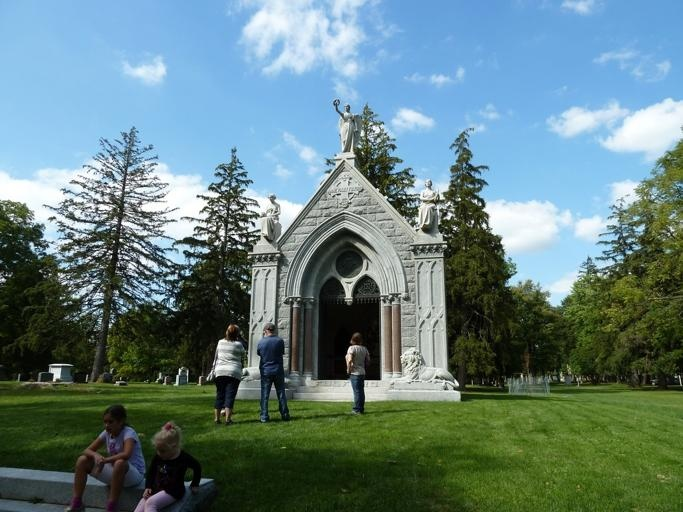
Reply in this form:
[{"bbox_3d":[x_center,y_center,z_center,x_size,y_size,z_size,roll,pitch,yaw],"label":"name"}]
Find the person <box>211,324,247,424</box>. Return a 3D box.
[{"bbox_3d":[-2.386,2.483,10.432,0.650,2.029,0.511,0,-14,-6],"label":"person"}]
